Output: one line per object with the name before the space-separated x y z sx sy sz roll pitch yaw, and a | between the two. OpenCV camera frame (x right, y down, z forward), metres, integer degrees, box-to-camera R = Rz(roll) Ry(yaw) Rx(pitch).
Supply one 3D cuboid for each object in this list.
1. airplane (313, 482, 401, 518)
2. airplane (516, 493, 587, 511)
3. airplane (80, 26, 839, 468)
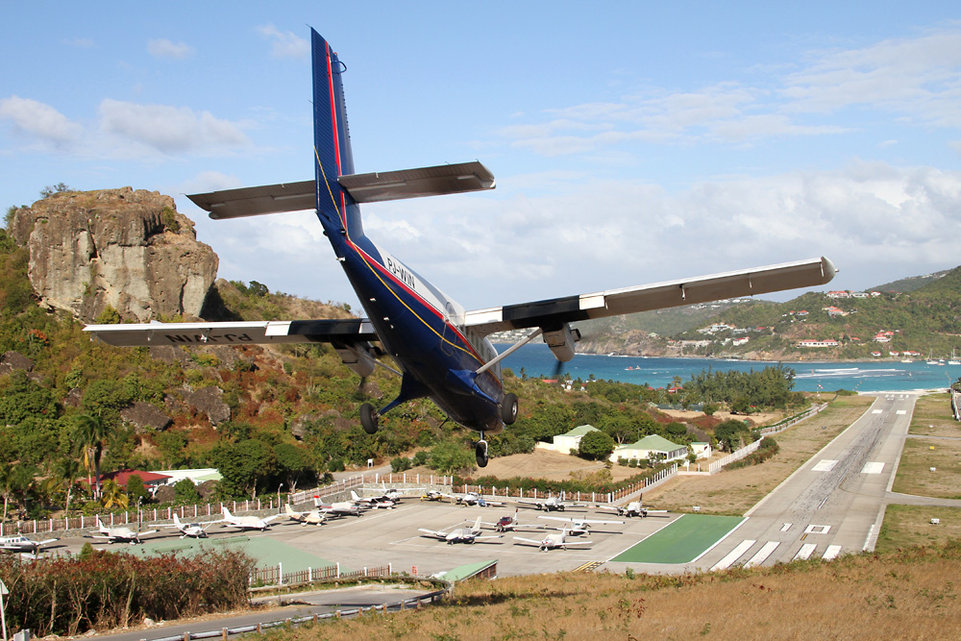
airplane | -11.977 17.733 92.208 5.562 1.767 9.638 1 2 33
airplane | 7.131 17.933 92.894 6.630 1.125 3.581 1 2 17
airplane | -3.240 -4.343 52.282 36.687 22.161 7.426 1 2 6
